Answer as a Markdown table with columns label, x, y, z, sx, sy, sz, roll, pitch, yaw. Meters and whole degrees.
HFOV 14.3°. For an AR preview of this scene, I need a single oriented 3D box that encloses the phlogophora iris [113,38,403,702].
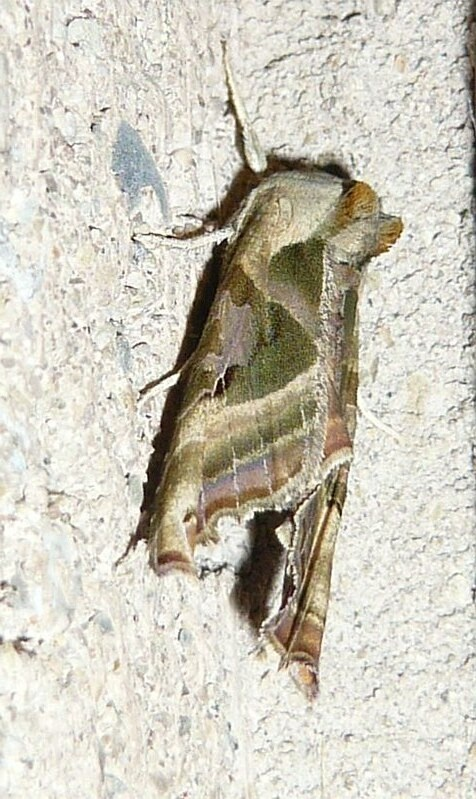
| label | x | y | z | sx | sy | sz | roll | pitch | yaw |
| --- | --- | --- | --- | --- | --- | --- | --- | --- | --- |
| phlogophora iris | 0.066 | -0.034 | 3.713 | 0.437 | 1.104 | 0.250 | 8 | -3 | -37 |
